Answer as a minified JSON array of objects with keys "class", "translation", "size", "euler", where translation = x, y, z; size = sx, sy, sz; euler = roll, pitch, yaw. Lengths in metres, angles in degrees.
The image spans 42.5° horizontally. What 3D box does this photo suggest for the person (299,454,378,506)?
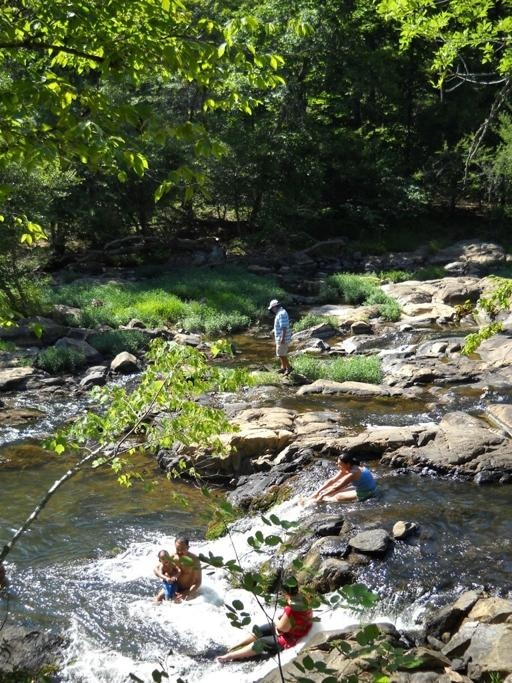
[{"class":"person","translation":[1.046,1.743,8.409],"size":[0.964,0.555,0.424],"euler":[-6,3,15]}]
